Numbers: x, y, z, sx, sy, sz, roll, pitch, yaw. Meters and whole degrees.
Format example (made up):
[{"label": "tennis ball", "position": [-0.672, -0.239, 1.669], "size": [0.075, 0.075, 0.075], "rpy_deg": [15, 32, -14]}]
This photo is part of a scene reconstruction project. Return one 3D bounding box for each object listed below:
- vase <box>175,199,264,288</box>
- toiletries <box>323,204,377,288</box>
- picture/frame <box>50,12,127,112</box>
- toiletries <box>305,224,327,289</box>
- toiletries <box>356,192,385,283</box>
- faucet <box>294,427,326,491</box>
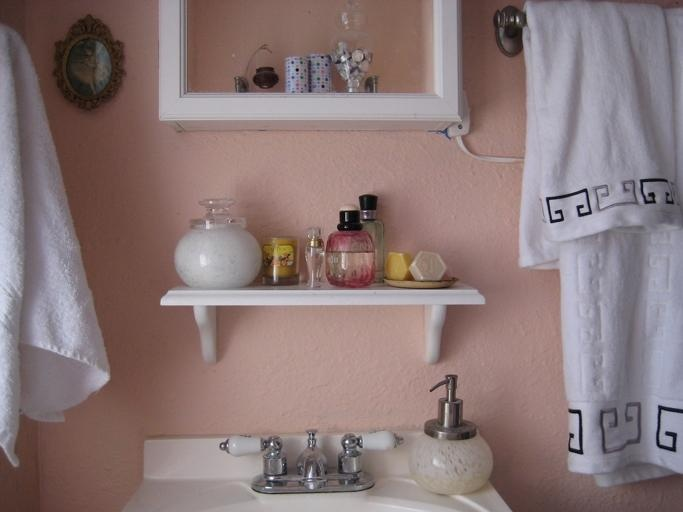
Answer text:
[{"label": "vase", "position": [-0.264, -0.023, 1.583], "size": [0.164, 0.185, 0.157], "rpy_deg": [-1, -2, 18]}, {"label": "toiletries", "position": [0.019, -0.020, 1.558], "size": [0.112, 0.164, 0.060], "rpy_deg": [-3, -1, -9]}, {"label": "picture/frame", "position": [-0.586, -0.455, 1.623], "size": [0.213, 0.298, 0.014], "rpy_deg": [0, 1, -4]}, {"label": "toiletries", "position": [-0.058, 0.002, 1.564], "size": [0.052, 0.119, 0.050], "rpy_deg": [-3, -1, -28]}, {"label": "toiletries", "position": [0.064, -0.044, 1.598], "size": [0.056, 0.194, 0.054], "rpy_deg": [0, 8, -7]}, {"label": "faucet", "position": [-0.068, 0.446, 1.565], "size": [0.062, 0.116, 0.057], "rpy_deg": [-3, -1, -5]}]
